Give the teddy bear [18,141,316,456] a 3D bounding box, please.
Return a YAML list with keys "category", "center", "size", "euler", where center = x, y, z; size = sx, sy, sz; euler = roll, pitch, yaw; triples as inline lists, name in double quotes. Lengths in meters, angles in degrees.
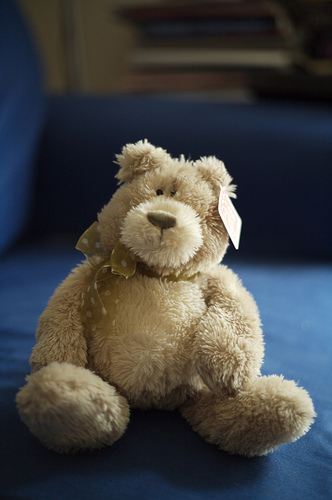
- category: "teddy bear"
  center: [0.007, 0.058, 0.706]
  size: [0.352, 0.310, 0.353]
  euler: [3, 32, -3]
